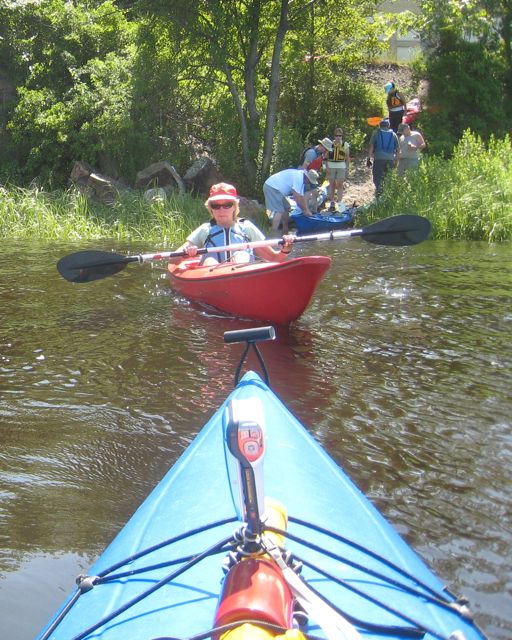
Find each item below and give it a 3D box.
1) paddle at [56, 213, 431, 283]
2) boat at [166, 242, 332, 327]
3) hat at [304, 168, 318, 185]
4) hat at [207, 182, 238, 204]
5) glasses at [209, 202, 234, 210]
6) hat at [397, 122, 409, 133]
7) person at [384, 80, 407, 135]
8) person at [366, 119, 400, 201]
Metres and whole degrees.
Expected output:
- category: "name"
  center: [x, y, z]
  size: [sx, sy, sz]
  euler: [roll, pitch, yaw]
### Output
- category: "paddle"
  center: [-0.096, -0.539, 5.325]
  size: [2.609, 0.525, 0.750]
  euler: [1, 7, -1]
- category: "boat"
  center: [-0.110, -0.266, 5.483]
  size: [0.513, 0.371, 1.428]
  euler: [-21, 15, -31]
- category: "hat"
  center: [0.768, -2.043, 10.101]
  size: [0.090, 0.193, 0.261]
  euler: [-40, 12, 15]
- category: "hat"
  center: [-0.272, -1.014, 5.655]
  size: [0.235, 0.173, 0.308]
  euler: [3, 7, 10]
- category: "glasses"
  center: [-0.282, -0.898, 5.592]
  size: [0.172, 0.052, 0.077]
  euler: [1, 7, -4]
- category: "hat"
  center: [2.233, -2.966, 10.928]
  size: [0.154, 0.167, 0.312]
  euler: [3, 7, 11]
- category: "person"
  center: [2.321, -3.590, 12.186]
  size: [0.436, 0.891, 0.287]
  euler: [-14, 25, -7]
- category: "person"
  center: [1.933, -2.488, 10.997]
  size: [0.457, 1.192, 0.760]
  euler: [3, 8, 10]
